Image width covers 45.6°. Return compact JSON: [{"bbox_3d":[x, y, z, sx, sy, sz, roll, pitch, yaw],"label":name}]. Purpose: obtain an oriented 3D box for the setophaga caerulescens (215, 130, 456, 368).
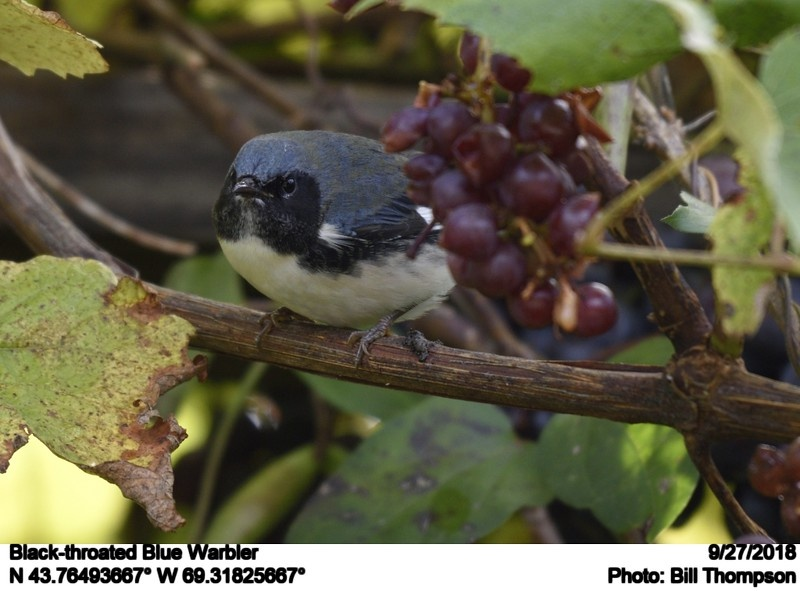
[{"bbox_3d":[-0.118,-0.141,1.842,0.383,0.341,0.562,6,20,33],"label":"setophaga caerulescens"}]
